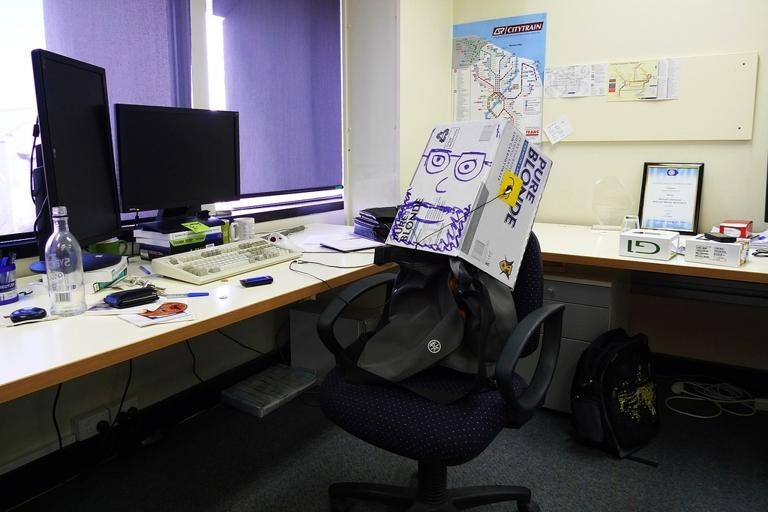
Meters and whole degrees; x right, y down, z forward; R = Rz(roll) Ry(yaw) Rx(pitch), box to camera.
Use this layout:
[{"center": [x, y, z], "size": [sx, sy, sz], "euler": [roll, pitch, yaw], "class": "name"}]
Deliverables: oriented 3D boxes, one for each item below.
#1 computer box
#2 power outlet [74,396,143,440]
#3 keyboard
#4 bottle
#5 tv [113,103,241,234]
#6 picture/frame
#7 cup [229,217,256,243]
[{"center": [-0.295, 0.463, 3.078], "size": [0.689, 0.496, 0.371], "euler": [1, 6, -4], "class": "computer box"}, {"center": [-1.376, 0.801, 2.628], "size": [0.046, 0.088, 0.243], "euler": [8, 21, 35], "class": "power outlet"}, {"center": [-0.745, 0.008, 2.608], "size": [0.299, 0.101, 0.676], "euler": [14, 22, 43], "class": "keyboard"}, {"center": [-1.282, 0.010, 2.114], "size": [0.135, 0.394, 0.275], "euler": [-9, 17, -29], "class": "bottle"}, {"center": [-1.056, -0.438, 2.659], "size": [0.210, 0.571, 0.664], "euler": [5, 8, 39], "class": "tv"}, {"center": [1.756, -0.347, 3.218], "size": [0.392, 0.544, 0.057], "euler": [6, 3, 23], "class": "picture/frame"}, {"center": [-0.771, -0.144, 2.902], "size": [0.143, 0.137, 0.093], "euler": [-2, 9, -18], "class": "cup"}]
